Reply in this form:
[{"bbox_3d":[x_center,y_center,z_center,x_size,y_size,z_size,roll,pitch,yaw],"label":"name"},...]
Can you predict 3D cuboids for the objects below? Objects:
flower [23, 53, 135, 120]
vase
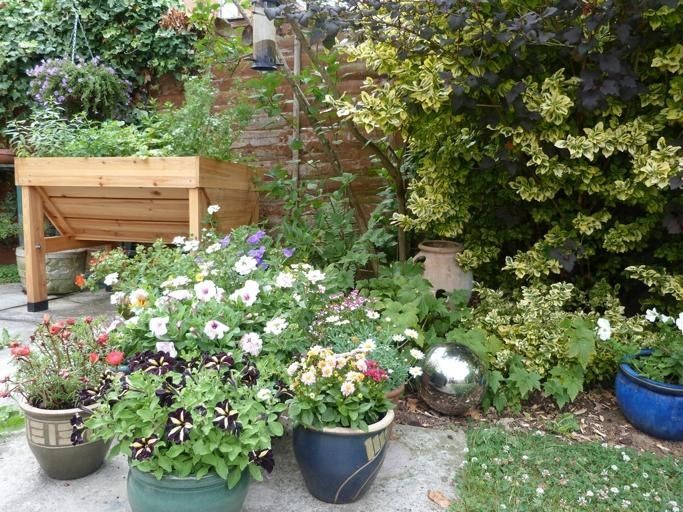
[{"bbox_3d":[-2.611,-1.619,5.720,0.888,0.546,0.842,9,7,12],"label":"flower"},{"bbox_3d":[0.717,0.174,4.269,0.519,0.534,0.491,8,22,16],"label":"vase"}]
